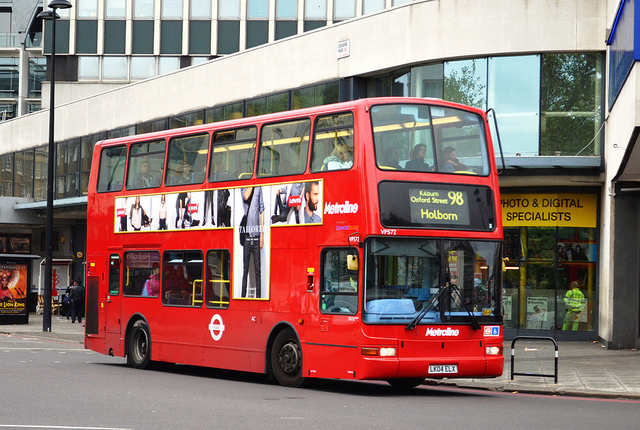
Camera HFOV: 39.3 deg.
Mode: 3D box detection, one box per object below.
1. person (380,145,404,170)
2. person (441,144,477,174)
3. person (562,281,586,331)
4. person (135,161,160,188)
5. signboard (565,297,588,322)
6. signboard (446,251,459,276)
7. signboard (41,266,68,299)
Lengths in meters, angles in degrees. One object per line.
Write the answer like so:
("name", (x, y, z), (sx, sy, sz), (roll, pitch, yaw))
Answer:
("person", (1.623, -1.256, 20.769), (0.439, 0.674, 0.738), (-8, -5, 31))
("person", (3.188, -1.308, 21.118), (0.853, 0.715, 0.316), (1, 1, -32))
("person", (8.963, 3.378, 31.701), (0.732, 1.509, 0.335), (1, 1, 17))
("person", (-4.877, -1.024, 25.163), (0.836, 0.896, 0.493), (5, -11, -26))
("signboard", (9.061, 3.383, 31.700), (0.773, 0.866, 0.313), (1, 1, 15))
("signboard", (3.113, 1.126, 20.846), (0.267, 0.543, 0.012), (0, 1, -27))
("signboard", (-14.624, 3.794, 50.087), (0.809, 1.807, 1.016), (0, 1, -38))
